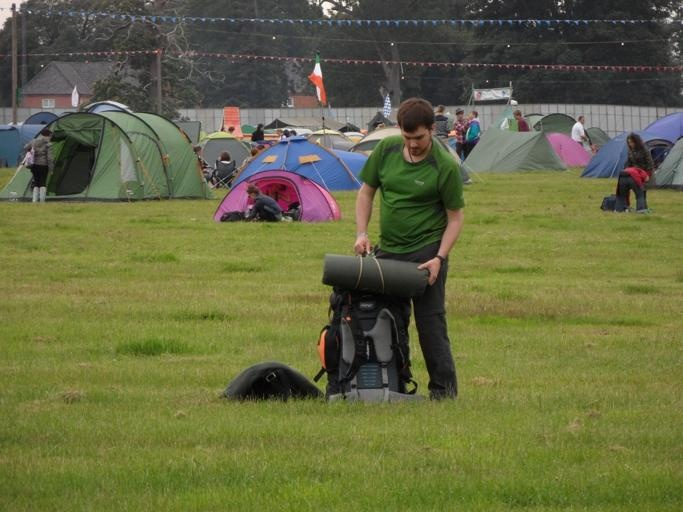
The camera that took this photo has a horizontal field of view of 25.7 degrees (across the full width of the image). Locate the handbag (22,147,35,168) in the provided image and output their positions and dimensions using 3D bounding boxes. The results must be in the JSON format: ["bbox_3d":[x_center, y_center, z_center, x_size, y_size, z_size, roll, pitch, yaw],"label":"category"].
[{"bbox_3d":[-11.194,-3.408,53.151,0.281,0.700,1.024,-1,7,-18],"label":"handbag"}]

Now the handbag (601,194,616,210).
[{"bbox_3d":[9.074,-1.704,50.683,0.555,0.539,0.465,2,6,10],"label":"handbag"}]
